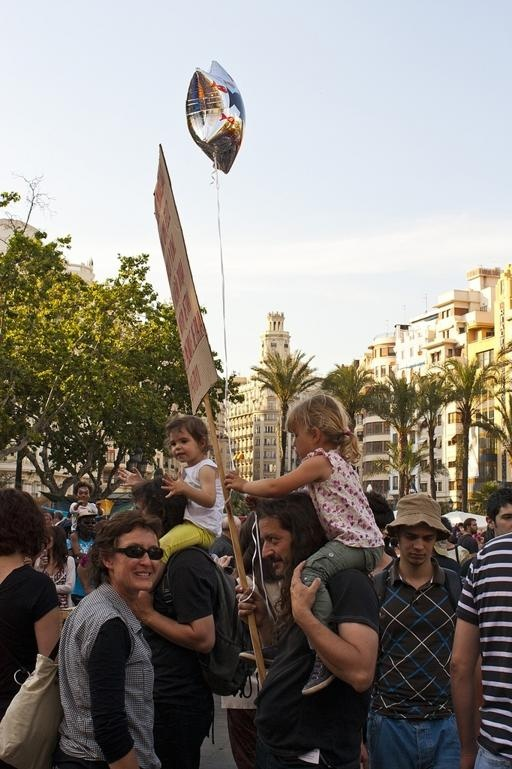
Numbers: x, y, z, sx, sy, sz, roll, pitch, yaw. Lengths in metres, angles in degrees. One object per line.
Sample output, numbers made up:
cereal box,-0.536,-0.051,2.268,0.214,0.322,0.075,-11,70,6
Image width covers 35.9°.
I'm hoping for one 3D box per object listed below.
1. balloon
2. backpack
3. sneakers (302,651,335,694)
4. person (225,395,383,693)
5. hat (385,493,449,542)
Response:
balloon,-0.245,-1.608,4.785,0.335,0.796,0.451,-1,-5,-4
backpack,-0.215,1.163,3.853,0.417,0.714,0.468,-7,-16,10
sneakers,0.192,0.890,2.447,0.059,0.072,0.172,-29,-14,3
person,0.179,0.526,2.835,0.529,0.956,0.376,-1,-4,5
hat,0.889,0.704,4.358,0.264,0.159,0.278,14,-26,-29
